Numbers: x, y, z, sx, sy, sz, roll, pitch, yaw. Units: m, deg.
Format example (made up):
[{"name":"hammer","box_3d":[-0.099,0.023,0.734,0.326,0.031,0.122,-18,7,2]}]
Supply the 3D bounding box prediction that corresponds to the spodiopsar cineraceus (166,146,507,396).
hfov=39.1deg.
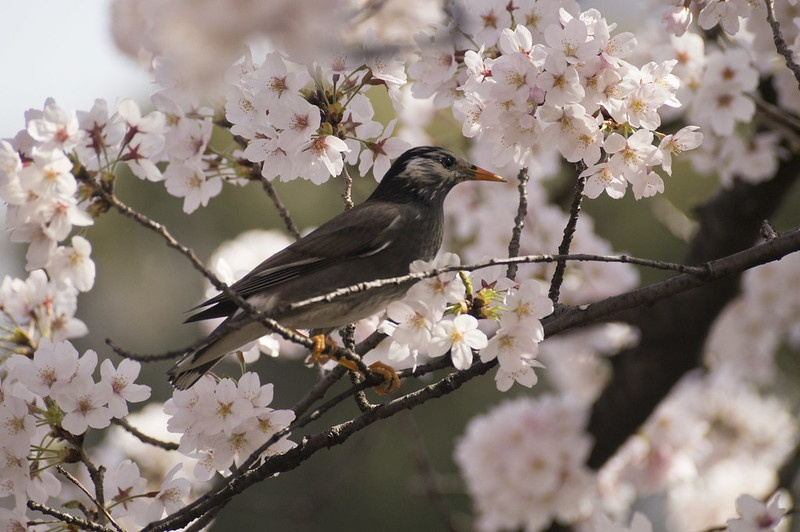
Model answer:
[{"name":"spodiopsar cineraceus","box_3d":[-0.438,-0.008,7.270,1.958,1.583,0.750,0,-20,11]}]
